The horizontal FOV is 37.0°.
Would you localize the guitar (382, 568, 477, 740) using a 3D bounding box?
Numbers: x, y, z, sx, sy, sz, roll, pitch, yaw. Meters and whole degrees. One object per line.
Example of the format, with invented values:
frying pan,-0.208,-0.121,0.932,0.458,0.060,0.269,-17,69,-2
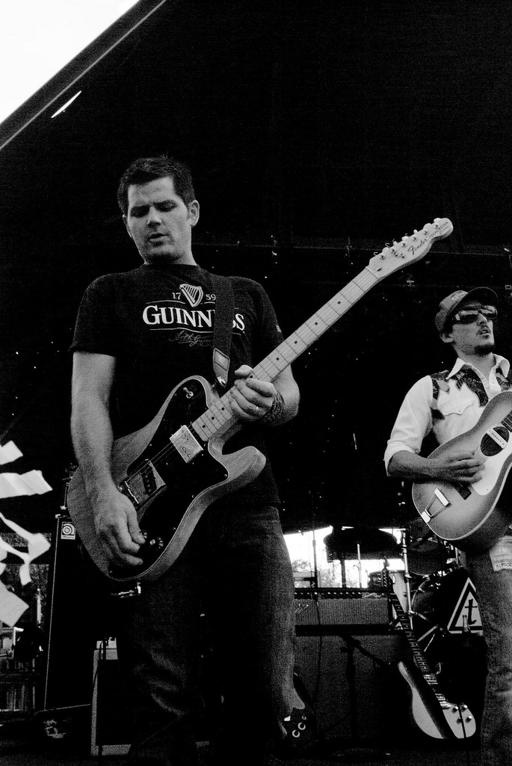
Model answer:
guitar,0.845,1.384,3.780,0.206,0.113,0.681,4,43,-20
